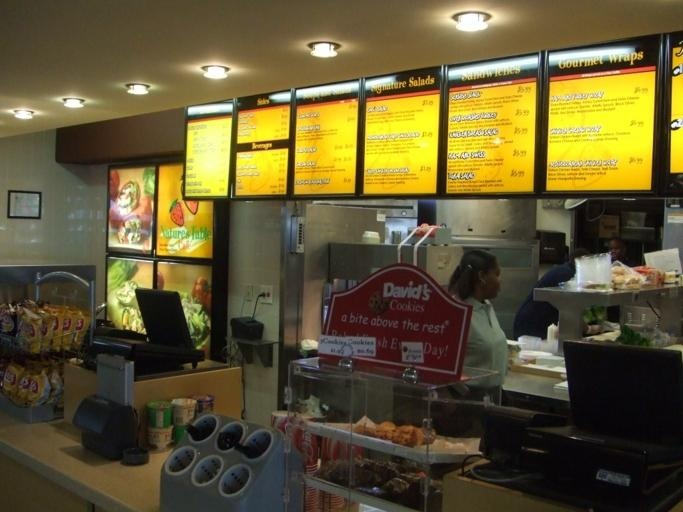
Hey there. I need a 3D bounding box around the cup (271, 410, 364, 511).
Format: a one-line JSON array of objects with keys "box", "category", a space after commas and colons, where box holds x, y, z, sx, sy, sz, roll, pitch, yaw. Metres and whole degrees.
[{"box": [-0.068, 0.663, 1.918, 0.303, 0.328, 0.300, 0, -3, 0], "category": "cup"}]

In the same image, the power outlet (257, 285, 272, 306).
[{"box": [-0.641, 0.334, 4.801, 0.166, 0.173, 0.091, -2, -4, 44], "category": "power outlet"}]

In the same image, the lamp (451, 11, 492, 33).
[{"box": [0.454, -0.807, 1.969, 0.132, 0.040, 0.164, -2, 13, 14], "category": "lamp"}]
